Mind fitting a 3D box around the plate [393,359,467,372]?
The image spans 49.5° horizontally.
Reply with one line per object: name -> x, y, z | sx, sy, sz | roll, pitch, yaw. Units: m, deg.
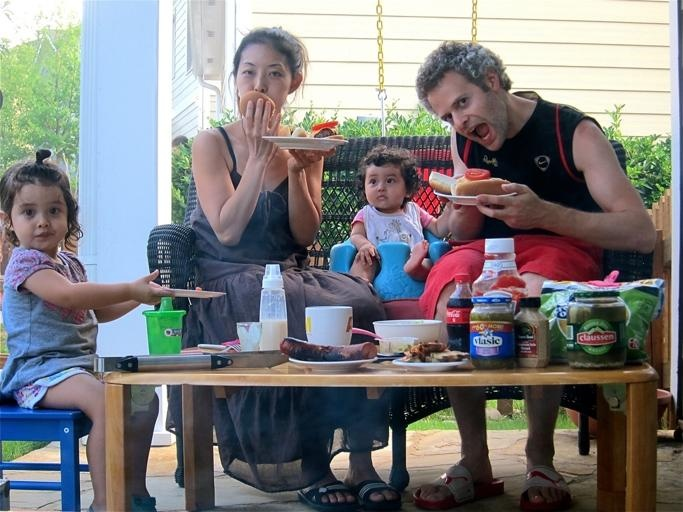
plate -> 0.284, 0.352, 2.405 | 0.230, 0.037, 0.104 | -1, 0, 8

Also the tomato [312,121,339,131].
tomato -> -0.091, -0.633, 3.604 | 0.108, 0.035, 0.104 | -14, 8, -28

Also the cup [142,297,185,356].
cup -> -0.663, 0.269, 2.783 | 0.208, 0.273, 0.208 | -1, -7, 0

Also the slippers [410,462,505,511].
slippers -> 0.493, 0.971, 3.186 | 0.387, 0.143, 0.148 | 0, -2, -32

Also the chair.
chair -> 0.210, 0.055, 3.788 | 0.332, 0.270, 0.443 | -1, 10, 36

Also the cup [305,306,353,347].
cup -> -0.043, 0.244, 2.602 | 0.139, 0.160, 0.140 | -1, -5, 0

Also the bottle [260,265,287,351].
bottle -> -0.253, 0.184, 2.700 | 0.098, 0.216, 0.228 | -1, 1, -5

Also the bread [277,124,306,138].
bread -> -0.236, -0.578, 3.481 | 0.128, 0.047, 0.132 | 4, 5, 5

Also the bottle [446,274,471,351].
bottle -> 0.411, 0.197, 2.580 | 0.085, 0.266, 0.193 | -1, 1, 9

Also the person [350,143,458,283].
person -> 0.267, -0.226, 4.012 | 0.635, 0.776, 0.670 | 0, -4, -1

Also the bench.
bench -> 0.250, 0.075, 4.085 | 1.990, 2.192, 1.794 | 0, -7, 0

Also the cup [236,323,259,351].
cup -> -0.326, 0.283, 2.619 | 0.090, 0.104, 0.091 | 1, -4, 0

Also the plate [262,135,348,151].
plate -> -0.185, -0.522, 3.369 | 0.388, 0.045, 0.227 | -1, 0, -22

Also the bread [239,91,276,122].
bread -> -0.410, -0.718, 3.425 | 0.140, 0.034, 0.137 | 29, -43, -15
